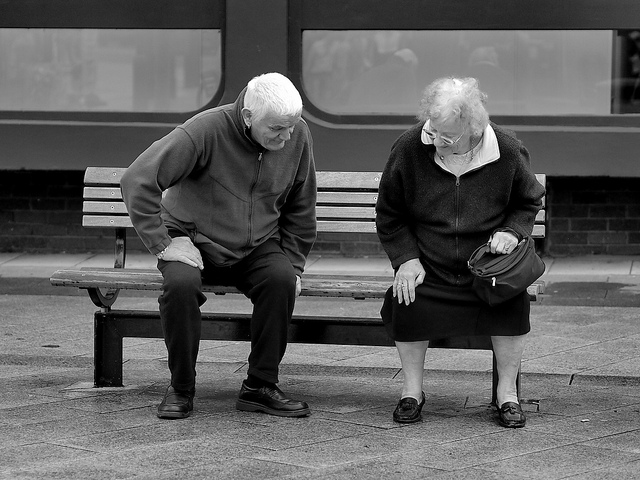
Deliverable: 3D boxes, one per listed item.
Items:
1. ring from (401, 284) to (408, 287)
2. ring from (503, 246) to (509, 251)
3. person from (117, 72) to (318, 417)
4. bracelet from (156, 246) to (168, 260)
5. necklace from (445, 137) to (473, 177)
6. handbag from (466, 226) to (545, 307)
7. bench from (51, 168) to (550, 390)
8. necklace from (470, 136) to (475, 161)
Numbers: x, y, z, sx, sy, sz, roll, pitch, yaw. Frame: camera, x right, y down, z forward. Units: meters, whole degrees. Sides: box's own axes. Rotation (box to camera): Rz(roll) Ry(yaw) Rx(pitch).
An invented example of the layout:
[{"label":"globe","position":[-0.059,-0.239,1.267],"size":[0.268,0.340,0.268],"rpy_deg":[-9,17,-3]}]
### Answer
[{"label":"ring","position":[0.468,0.255,6.237],"size":[0.031,0.028,0.008],"rpy_deg":[-1,49,-4]},{"label":"ring","position":[1.031,0.046,6.181],"size":[0.027,0.016,0.017],"rpy_deg":[0,-3,1]},{"label":"person","position":[-0.580,0.013,6.367],"size":[1.107,1.909,0.683],"rpy_deg":[0,11,-2]},{"label":"bracelet","position":[-0.900,0.070,6.315],"size":[0.070,0.025,0.054],"rpy_deg":[-39,3,2]},{"label":"necklace","position":[0.771,-0.470,6.157],"size":[0.024,0.161,0.157],"rpy_deg":[2,37,-44]},{"label":"handbag","position":[1.029,0.126,6.215],"size":[0.478,0.320,0.282],"rpy_deg":[-34,37,-29]},{"label":"bench","position":[-0.151,0.290,6.876],"size":[2.896,1.171,0.893],"rpy_deg":[1,28,12]},{"label":"necklace","position":[0.844,-0.506,6.161],"size":[0.017,0.132,0.036],"rpy_deg":[-2,11,-10]}]
